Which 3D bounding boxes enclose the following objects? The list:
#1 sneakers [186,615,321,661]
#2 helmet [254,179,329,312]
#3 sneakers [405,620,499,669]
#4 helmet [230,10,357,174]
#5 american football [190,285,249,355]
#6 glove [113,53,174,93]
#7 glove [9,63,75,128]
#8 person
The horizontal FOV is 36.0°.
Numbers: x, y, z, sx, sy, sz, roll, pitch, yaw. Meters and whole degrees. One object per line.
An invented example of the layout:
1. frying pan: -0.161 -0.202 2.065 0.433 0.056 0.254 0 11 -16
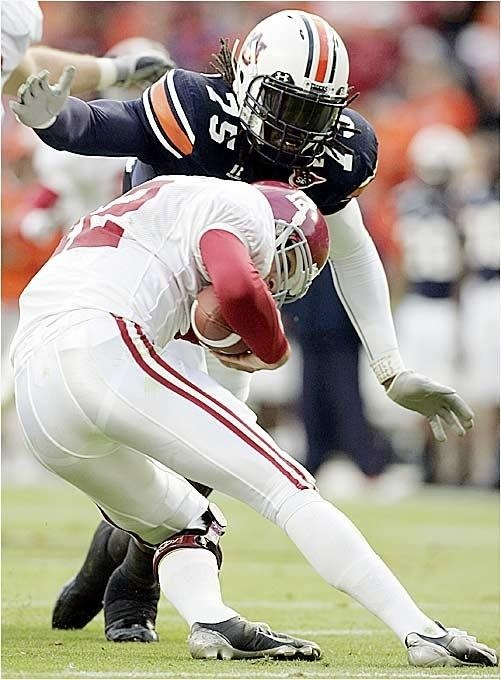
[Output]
1. sneakers: -0.008 0.508 1.344 0.256 0.086 0.082 1 -12 -11
2. helmet: 0.061 -0.188 1.387 0.143 0.152 0.183 14 41 25
3. sneakers: 0.303 0.483 1.241 0.182 0.069 0.063 12 -12 -33
4. helmet: 0.094 -0.563 1.696 0.267 0.275 0.328 3 34 -23
5. american football: -0.051 -0.021 1.264 0.091 0.106 0.061 25 62 39
6. glove: -0.340 -0.874 2.470 0.237 0.092 0.131 1 -34 -11
7. glove: -0.361 -0.429 1.330 0.095 0.130 0.199 4 -3 -17
8. person: 0.051 -0.077 1.553 0.816 1.271 0.837 2 -3 17
